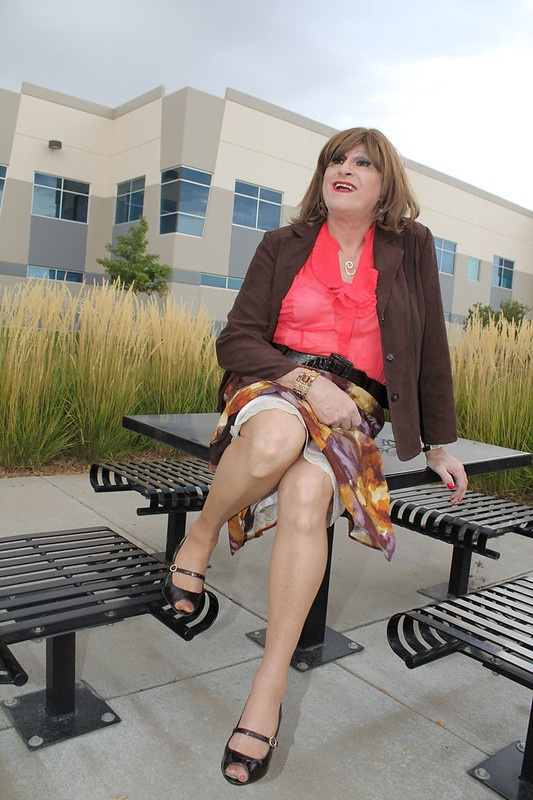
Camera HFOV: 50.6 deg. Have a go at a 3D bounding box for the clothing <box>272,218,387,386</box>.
[{"bbox_3d":[0.195,-0.252,1.631,0.335,0.441,0.260,13,-9,-4],"label":"clothing"}]

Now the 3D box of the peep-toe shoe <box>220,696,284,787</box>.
[{"bbox_3d":[-0.028,0.591,0.979,0.073,0.046,0.209,16,-1,10],"label":"peep-toe shoe"}]

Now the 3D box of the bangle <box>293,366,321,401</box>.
[{"bbox_3d":[0.087,-0.037,1.396,0.044,0.073,0.080,23,41,23],"label":"bangle"}]

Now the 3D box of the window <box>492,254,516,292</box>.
[{"bbox_3d":[13.361,-7.231,31.887,2.099,2.079,0.073,-8,9,-41],"label":"window"}]

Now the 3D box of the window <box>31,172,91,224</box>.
[{"bbox_3d":[-8.651,-8.360,23.333,0.090,1.783,2.553,8,8,42],"label":"window"}]

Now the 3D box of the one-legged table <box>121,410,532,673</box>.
[{"bbox_3d":[0.109,0.245,1.894,0.962,0.466,0.930,-4,9,-43],"label":"one-legged table"}]

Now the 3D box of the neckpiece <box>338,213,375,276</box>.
[{"bbox_3d":[0.258,-0.434,1.596,0.087,0.159,0.037,8,-29,6],"label":"neckpiece"}]

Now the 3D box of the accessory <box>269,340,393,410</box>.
[{"bbox_3d":[0.185,-0.029,1.563,0.250,0.077,0.195,28,5,1],"label":"accessory"}]

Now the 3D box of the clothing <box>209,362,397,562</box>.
[{"bbox_3d":[0.151,0.100,1.461,0.370,0.202,0.585,5,33,-1],"label":"clothing"}]

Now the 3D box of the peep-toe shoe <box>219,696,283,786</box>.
[{"bbox_3d":[-0.026,0.591,0.980,0.074,0.050,0.219,16,-2,10],"label":"peep-toe shoe"}]
